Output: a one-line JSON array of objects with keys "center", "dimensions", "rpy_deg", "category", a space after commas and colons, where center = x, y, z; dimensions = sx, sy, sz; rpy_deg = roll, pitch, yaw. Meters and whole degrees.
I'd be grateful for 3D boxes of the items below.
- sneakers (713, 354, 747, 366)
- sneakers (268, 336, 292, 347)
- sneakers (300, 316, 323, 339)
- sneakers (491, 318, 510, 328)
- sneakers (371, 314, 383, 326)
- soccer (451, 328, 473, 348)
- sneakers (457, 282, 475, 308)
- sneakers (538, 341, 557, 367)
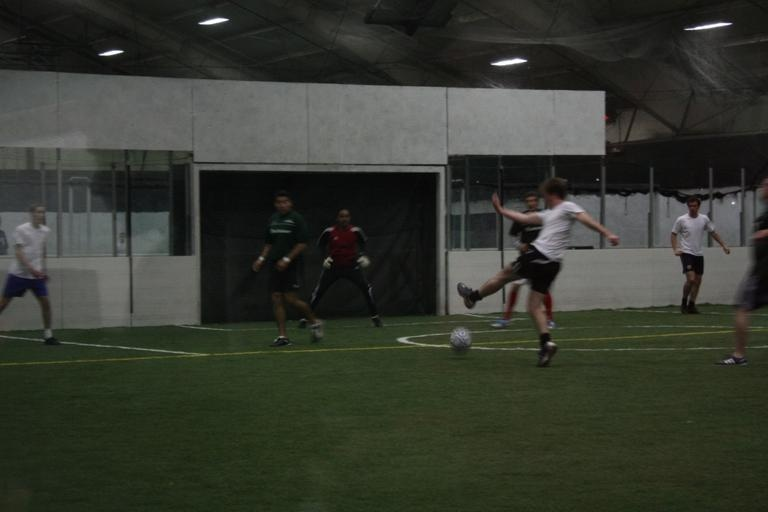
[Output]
[{"center": [4.405, 1.314, 11.972], "dimensions": [0.432, 0.146, 0.141], "rpy_deg": [1, -4, 3], "category": "sneakers"}, {"center": [-1.547, 1.281, 14.225], "dimensions": [0.364, 0.136, 0.116], "rpy_deg": [1, -2, -13], "category": "sneakers"}, {"center": [-1.194, 1.183, 15.560], "dimensions": [0.230, 0.438, 0.163], "rpy_deg": [-26, 18, -27], "category": "sneakers"}, {"center": [1.994, 1.104, 15.494], "dimensions": [0.461, 0.175, 0.151], "rpy_deg": [-1, 18, 2], "category": "sneakers"}, {"center": [-0.175, 1.199, 17.423], "dimensions": [0.253, 0.213, 0.152], "rpy_deg": [-5, -1, 29], "category": "sneakers"}, {"center": [1.081, 1.135, 12.987], "dimensions": [0.280, 0.252, 0.273], "rpy_deg": [1, -4, 3], "category": "soccer"}, {"center": [1.230, 0.553, 13.388], "dimensions": [0.208, 0.225, 0.517], "rpy_deg": [-4, 31, -7], "category": "sneakers"}, {"center": [2.056, 1.260, 11.954], "dimensions": [0.210, 0.143, 0.411], "rpy_deg": [6, -25, -5], "category": "sneakers"}]
